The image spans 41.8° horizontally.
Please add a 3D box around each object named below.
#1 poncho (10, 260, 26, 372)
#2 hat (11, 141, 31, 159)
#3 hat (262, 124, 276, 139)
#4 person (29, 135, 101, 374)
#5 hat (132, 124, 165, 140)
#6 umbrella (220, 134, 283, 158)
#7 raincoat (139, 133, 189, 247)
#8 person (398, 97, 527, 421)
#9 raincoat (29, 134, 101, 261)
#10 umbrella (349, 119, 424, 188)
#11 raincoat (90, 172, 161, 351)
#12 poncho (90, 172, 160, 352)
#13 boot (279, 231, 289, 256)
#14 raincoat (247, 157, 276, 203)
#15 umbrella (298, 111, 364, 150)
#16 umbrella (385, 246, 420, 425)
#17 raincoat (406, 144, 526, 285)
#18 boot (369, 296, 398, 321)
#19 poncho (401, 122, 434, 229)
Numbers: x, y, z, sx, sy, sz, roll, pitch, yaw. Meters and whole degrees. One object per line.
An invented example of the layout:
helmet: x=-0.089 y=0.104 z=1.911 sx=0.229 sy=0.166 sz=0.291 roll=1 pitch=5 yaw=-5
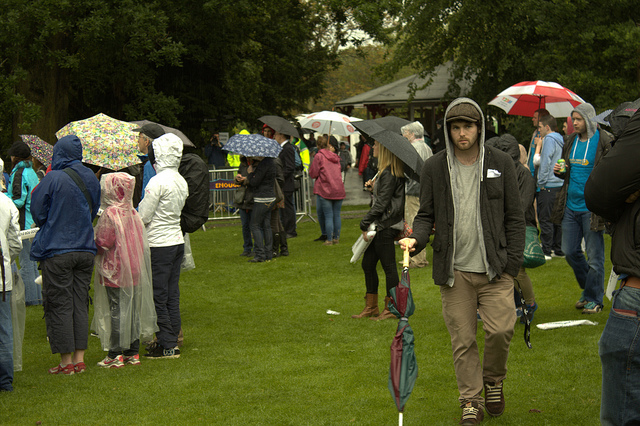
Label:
poncho: x=-4.124 y=1.435 z=11.422 sx=0.227 sy=1.259 sz=0.305 roll=3 pitch=0 yaw=5
hat: x=-5.062 y=-1.057 z=14.197 sx=0.322 sy=0.270 sz=0.268 roll=-7 pitch=13 yaw=-21
hat: x=-1.109 y=-1.715 z=17.781 sx=0.232 sy=0.305 sz=0.270 roll=-2 pitch=-10 yaw=6
person: x=-3.444 y=0.570 z=11.450 sx=0.970 sy=3.141 sz=0.742 roll=-12 pitch=15 yaw=-38
hat: x=-2.530 y=-1.234 z=12.472 sx=0.332 sy=0.137 sz=0.230 roll=11 pitch=9 yaw=3
umbrella: x=-1.358 y=-1.300 z=16.479 sx=1.116 sy=0.477 sz=0.671 roll=-4 pitch=12 yaw=-8
raincoat: x=-2.186 y=-0.302 z=12.006 sx=0.592 sy=1.612 sz=0.877 roll=1 pitch=-3 yaw=-10
person: x=1.757 y=0.559 z=9.931 sx=1.232 sy=3.751 sz=0.882 roll=1 pitch=12 yaw=14
raincoat: x=-3.499 y=-0.199 z=11.445 sx=1.014 sy=1.623 sz=0.558 roll=-7 pitch=13 yaw=-20
umbrella: x=0.991 y=-1.007 z=13.066 sx=0.625 sy=1.010 sz=1.010 roll=-44 pitch=9 yaw=7
raincoat: x=-2.878 y=0.679 z=11.966 sx=1.038 sy=2.517 sz=1.067 roll=4 pitch=5 yaw=41
poncho: x=-2.745 y=0.699 z=11.922 sx=0.840 sy=2.408 sz=1.004 roll=1 pitch=-3 yaw=-12
boot: x=-0.781 y=0.630 z=17.655 sx=0.190 sy=0.490 sz=0.425 roll=-3 pitch=12 yaw=-3
raincoat: x=-1.181 y=-0.684 z=16.806 sx=0.620 sy=0.956 sz=0.733 roll=0 pitch=5 yaw=-9
umbrella: x=0.235 y=-2.071 z=22.609 sx=1.532 sy=1.050 sz=1.466 roll=-2 pitch=9 yaw=-8
umbrella: x=0.922 y=1.454 z=9.528 sx=0.297 sy=1.865 sz=0.695 roll=-1 pitch=12 yaw=4
raincoat: x=1.753 y=0.024 z=10.001 sx=1.287 sy=1.622 sz=0.543 roll=0 pitch=12 yaw=9
boot: x=1.072 y=1.537 z=13.172 sx=0.527 sy=0.406 sz=0.239 roll=-1 pitch=-7 yaw=21
poncho: x=1.895 y=-0.677 z=15.402 sx=0.646 sy=1.922 sz=0.793 roll=0 pitch=0 yaw=-3
